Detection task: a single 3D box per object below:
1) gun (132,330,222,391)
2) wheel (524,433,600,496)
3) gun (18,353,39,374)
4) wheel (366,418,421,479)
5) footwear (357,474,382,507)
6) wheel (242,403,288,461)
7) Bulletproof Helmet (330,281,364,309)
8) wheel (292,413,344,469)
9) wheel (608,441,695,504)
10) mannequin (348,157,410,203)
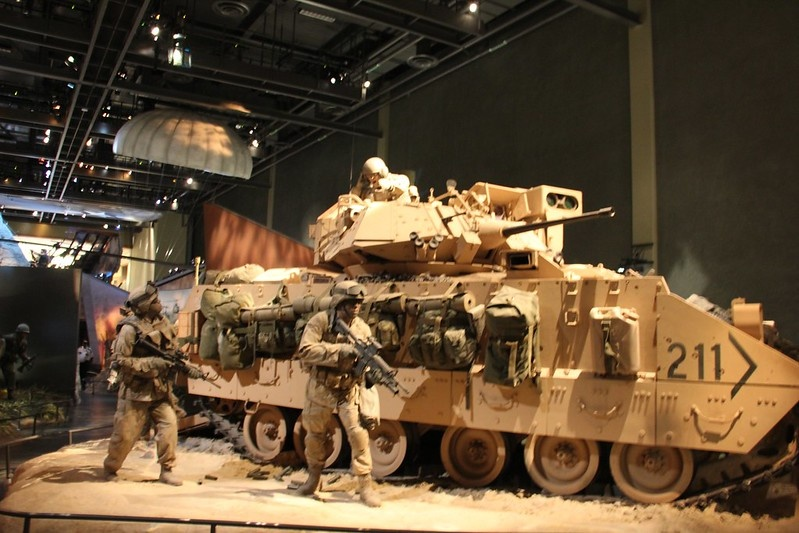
[{"bbox_3d":[-4.378,1.846,15.131,1.824,0.700,0.251,38,-22,-7],"label":"gun"},{"bbox_3d":[2.925,3.355,13.941,1.202,1.462,1.329,5,15,17],"label":"wheel"},{"bbox_3d":[-10.070,2.620,20.632,0.642,0.305,0.165,-12,35,-7],"label":"gun"},{"bbox_3d":[-0.126,3.432,14.492,0.400,1.282,1.090,7,-6,-41],"label":"wheel"},{"bbox_3d":[-0.524,3.859,13.301,0.427,0.524,0.317,0,3,2],"label":"footwear"},{"bbox_3d":[-2.772,3.475,15.982,0.955,1.131,0.295,3,-3,44],"label":"wheel"},{"bbox_3d":[-0.905,0.483,13.401,0.420,0.332,0.470,-5,-10,4],"label":"Bulletproof Helmet"},{"bbox_3d":[-1.488,3.266,14.375,1.172,1.410,0.360,1,1,37],"label":"wheel"},{"bbox_3d":[4.384,3.540,13.184,0.901,1.110,0.293,2,-1,13],"label":"wheel"},{"bbox_3d":[-0.385,-1.944,17.967,0.981,0.730,1.366,5,3,6],"label":"mannequin"}]
